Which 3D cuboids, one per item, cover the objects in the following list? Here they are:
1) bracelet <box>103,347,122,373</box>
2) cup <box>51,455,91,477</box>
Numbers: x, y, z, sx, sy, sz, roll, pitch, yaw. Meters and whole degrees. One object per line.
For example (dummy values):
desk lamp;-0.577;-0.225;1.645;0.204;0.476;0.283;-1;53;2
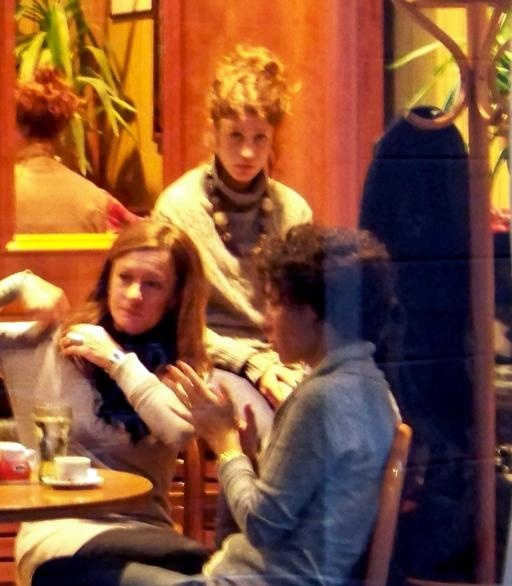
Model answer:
bracelet;-0.234;0.111;1.372;0.028;0.039;0.010;31;6;32
cup;-0.292;0.266;1.289;0.035;0.023;0.036;3;-8;0
